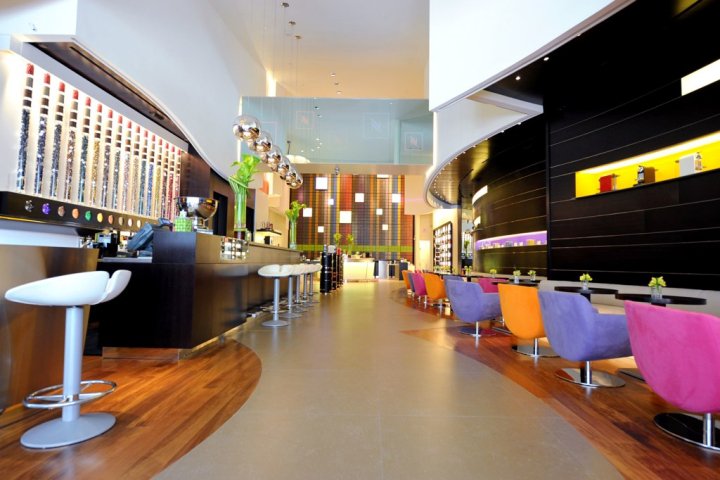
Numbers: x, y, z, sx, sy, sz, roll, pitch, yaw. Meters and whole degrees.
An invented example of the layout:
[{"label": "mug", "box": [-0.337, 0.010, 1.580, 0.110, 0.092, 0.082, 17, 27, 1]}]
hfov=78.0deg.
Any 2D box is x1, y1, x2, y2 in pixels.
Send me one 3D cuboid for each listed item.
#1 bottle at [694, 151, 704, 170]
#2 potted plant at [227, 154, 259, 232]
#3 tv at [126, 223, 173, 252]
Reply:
[{"label": "bottle", "box": [5.035, -1.165, 6.555, 0.167, 0.228, 0.069, 5, -1, 17]}, {"label": "potted plant", "box": [-1.781, -0.724, 6.837, 0.443, 1.167, 0.716, -2, 12, -16]}, {"label": "tv", "box": [-2.629, -0.076, 5.467, 0.493, 0.168, 0.337, -17, -39, -25]}]
